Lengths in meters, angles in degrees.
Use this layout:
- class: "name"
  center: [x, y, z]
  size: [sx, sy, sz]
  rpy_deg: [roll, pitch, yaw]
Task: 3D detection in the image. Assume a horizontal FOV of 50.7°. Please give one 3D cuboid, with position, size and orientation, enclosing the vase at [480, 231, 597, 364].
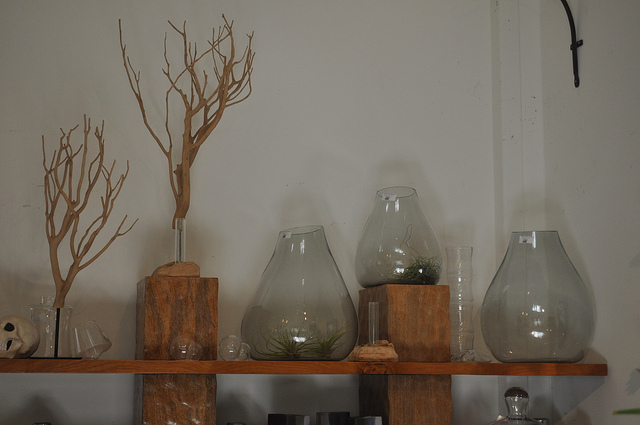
- class: "vase"
  center: [0.705, 0.291, 2.220]
  size: [0.354, 0.466, 0.256]
  rpy_deg: [-6, -20, 30]

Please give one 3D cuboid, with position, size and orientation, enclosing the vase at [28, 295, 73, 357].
- class: "vase"
  center: [-0.826, 0.356, 2.066]
  size: [0.102, 0.206, 0.108]
  rpy_deg: [-5, -14, 33]

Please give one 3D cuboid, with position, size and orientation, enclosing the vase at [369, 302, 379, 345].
- class: "vase"
  center: [0.173, 0.345, 2.148]
  size: [0.032, 0.160, 0.035]
  rpy_deg: [2, 29, 7]

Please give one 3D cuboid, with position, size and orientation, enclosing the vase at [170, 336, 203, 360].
- class: "vase"
  center: [-0.390, 0.405, 2.011]
  size: [0.100, 0.068, 0.054]
  rpy_deg: [6, -8, -28]

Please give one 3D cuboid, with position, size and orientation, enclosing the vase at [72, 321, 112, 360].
- class: "vase"
  center: [-0.696, 0.400, 2.061]
  size: [0.109, 0.117, 0.098]
  rpy_deg: [12, -20, -36]

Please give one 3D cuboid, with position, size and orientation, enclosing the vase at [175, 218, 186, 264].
- class: "vase"
  center: [-0.437, 0.089, 2.117]
  size: [0.035, 0.144, 0.034]
  rpy_deg: [3, -7, -15]

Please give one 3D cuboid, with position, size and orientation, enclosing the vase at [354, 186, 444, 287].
- class: "vase"
  center: [0.285, 0.100, 2.307]
  size: [0.269, 0.318, 0.289]
  rpy_deg: [-2, -6, 21]

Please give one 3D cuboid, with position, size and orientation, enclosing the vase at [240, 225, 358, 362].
- class: "vase"
  center: [-0.045, 0.334, 2.299]
  size: [0.463, 0.581, 0.332]
  rpy_deg: [2, -16, -5]

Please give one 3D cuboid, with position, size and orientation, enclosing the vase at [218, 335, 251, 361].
- class: "vase"
  center: [-0.247, 0.413, 2.042]
  size: [0.073, 0.074, 0.047]
  rpy_deg: [10, 30, -16]

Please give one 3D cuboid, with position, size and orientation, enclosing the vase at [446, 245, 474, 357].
- class: "vase"
  center: [0.475, 0.302, 2.284]
  size: [0.087, 0.373, 0.104]
  rpy_deg: [0, -6, 11]
